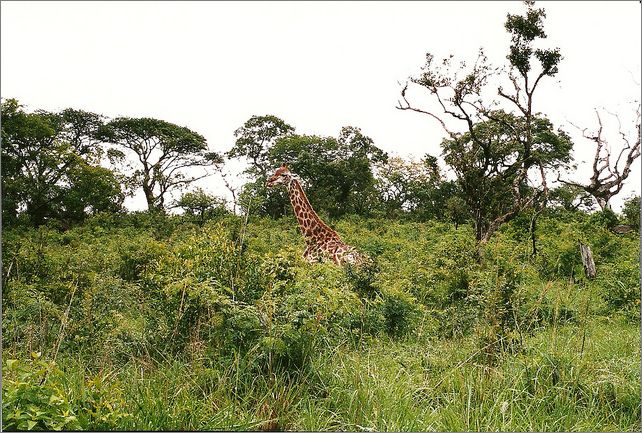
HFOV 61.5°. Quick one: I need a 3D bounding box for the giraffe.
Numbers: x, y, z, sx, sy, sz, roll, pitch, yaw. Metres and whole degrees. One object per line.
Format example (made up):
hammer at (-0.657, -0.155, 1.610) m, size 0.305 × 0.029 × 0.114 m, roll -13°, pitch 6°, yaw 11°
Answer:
giraffe at (-0.085, -0.055, 8.812) m, size 1.524 × 1.805 × 0.832 m, roll -11°, pitch -11°, yaw 41°
